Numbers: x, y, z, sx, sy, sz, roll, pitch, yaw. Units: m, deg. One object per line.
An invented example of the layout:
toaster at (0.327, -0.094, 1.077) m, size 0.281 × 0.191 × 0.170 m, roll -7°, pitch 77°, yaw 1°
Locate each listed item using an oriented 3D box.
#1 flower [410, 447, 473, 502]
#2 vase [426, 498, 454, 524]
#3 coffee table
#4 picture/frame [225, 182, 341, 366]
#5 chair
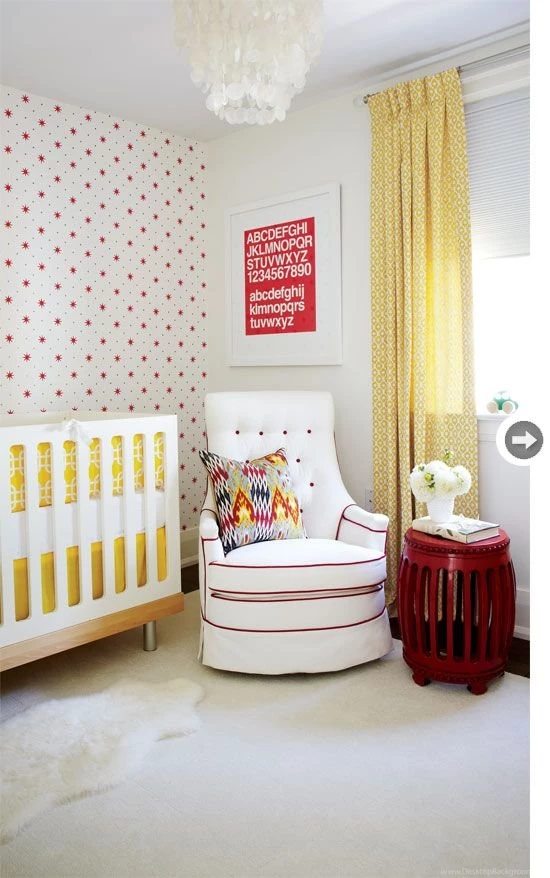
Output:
flower at (0.613, 0.118, 2.250) m, size 0.173 × 0.155 × 0.203 m, roll -11°, pitch 12°, yaw 39°
vase at (0.588, 0.271, 2.232) m, size 0.083 × 0.114 × 0.091 m, roll 2°, pitch -10°, yaw -11°
coffee table at (0.697, 0.539, 2.313) m, size 0.436 × 0.718 × 0.471 m, roll 1°, pitch 4°, yaw 25°
picture/frame at (0.067, -0.880, 3.274) m, size 0.036 × 1.132 × 0.952 m, roll -3°, pitch 2°, yaw -37°
chair at (0.110, 0.345, 2.638) m, size 0.761 × 1.220 × 0.985 m, roll 0°, pitch -6°, yaw -7°
